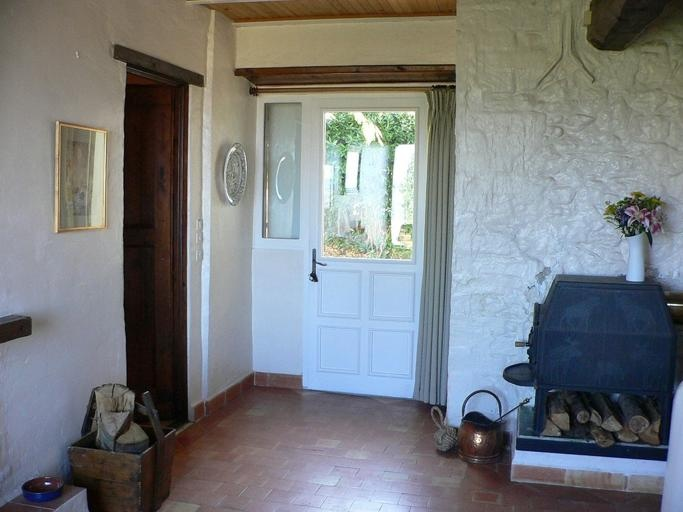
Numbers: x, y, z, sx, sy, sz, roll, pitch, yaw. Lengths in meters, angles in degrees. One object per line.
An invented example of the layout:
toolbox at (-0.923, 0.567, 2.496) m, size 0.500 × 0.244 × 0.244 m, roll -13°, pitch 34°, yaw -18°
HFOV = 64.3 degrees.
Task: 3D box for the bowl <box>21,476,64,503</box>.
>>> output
bowl at (-1.527, 1.200, 2.791) m, size 0.179 × 0.064 × 0.174 m, roll 1°, pitch 9°, yaw 0°

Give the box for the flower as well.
flower at (1.873, -0.294, 3.549) m, size 0.356 × 0.312 × 0.358 m, roll 4°, pitch 20°, yaw 18°

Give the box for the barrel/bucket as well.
barrel/bucket at (0.969, 1.155, 3.758) m, size 0.306 × 0.449 × 0.323 m, roll 0°, pitch 9°, yaw 0°
